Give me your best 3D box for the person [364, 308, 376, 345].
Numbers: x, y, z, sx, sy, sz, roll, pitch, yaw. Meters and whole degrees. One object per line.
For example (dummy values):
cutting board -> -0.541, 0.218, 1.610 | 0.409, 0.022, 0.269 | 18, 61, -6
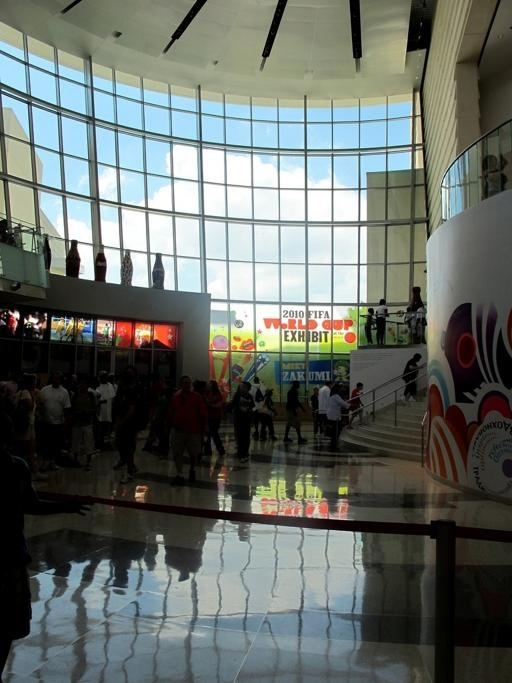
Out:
person -> 3.738, -0.495, 17.685 | 0.315, 1.322, 1.356 | -1, -5, 12

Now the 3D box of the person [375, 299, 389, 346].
person -> 4.058, -0.623, 17.403 | 0.401, 1.612, 1.794 | -1, -5, 12

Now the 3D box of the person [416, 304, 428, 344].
person -> 5.068, -0.493, 16.433 | 0.271, 1.181, 0.577 | -1, -5, 20

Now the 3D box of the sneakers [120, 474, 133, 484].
sneakers -> -1.858, 1.979, 7.655 | 0.078, 0.101, 0.239 | -2, -14, 5
